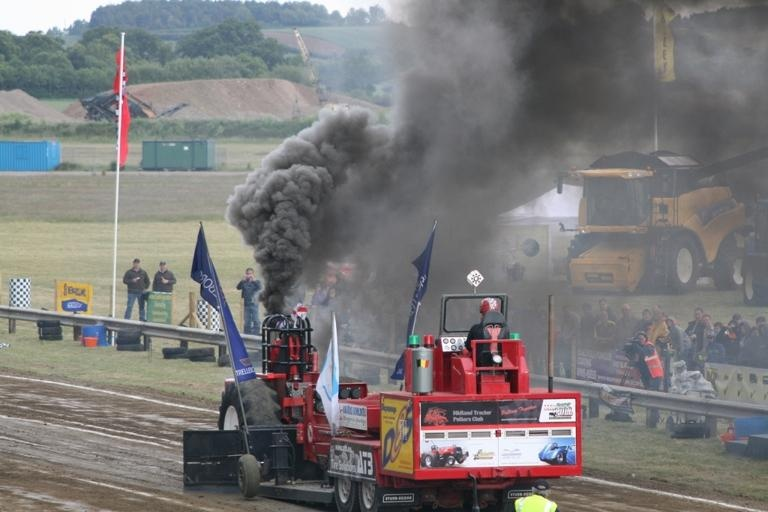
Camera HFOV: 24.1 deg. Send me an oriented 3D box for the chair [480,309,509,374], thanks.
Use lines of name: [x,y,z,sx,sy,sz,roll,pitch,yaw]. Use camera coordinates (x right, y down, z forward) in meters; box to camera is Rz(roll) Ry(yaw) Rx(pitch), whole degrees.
chair: [2.634,2.013,44.308,0.823,1.322,0.626,-4,14,2]

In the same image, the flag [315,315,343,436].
flag: [-1.384,3.018,45.401,0.995,2.533,0.832,0,10,-8]

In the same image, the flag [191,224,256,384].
flag: [-4.240,1.323,47.303,1.923,3.905,1.260,3,-2,3]

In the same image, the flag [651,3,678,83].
flag: [8.362,-6.345,53.879,0.673,2.150,0.602,1,0,-4]

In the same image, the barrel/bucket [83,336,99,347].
barrel/bucket: [-9.323,2.730,57.055,0.372,0.241,0.358,-1,-9,0]
